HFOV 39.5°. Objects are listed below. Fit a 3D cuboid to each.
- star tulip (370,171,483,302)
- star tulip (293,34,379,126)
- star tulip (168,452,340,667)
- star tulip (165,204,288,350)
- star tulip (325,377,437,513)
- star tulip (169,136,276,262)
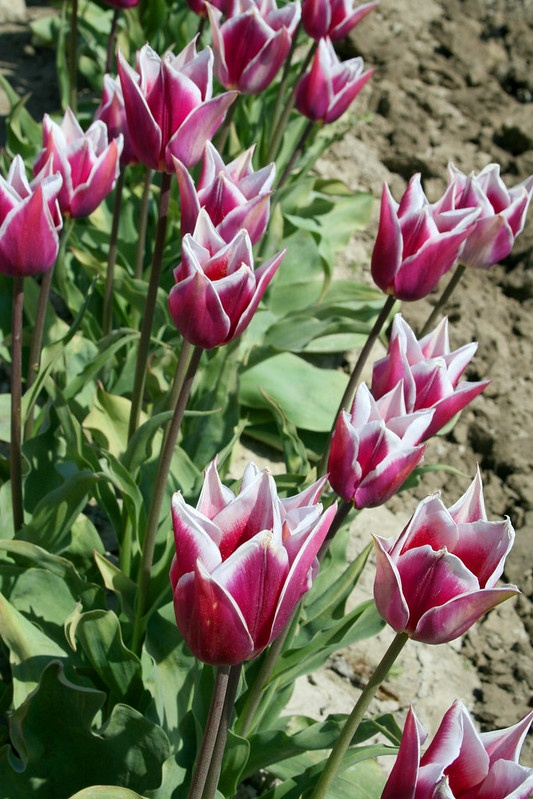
[{"bbox_3d":[0.249,-0.250,1.190,0.142,0.191,0.207,33,31,13],"label":"star tulip"},{"bbox_3d":[0.155,-0.735,1.777,0.147,0.180,0.195,21,31,-7],"label":"star tulip"},{"bbox_3d":[-0.031,0.159,0.694,0.137,0.182,0.134,19,4,26],"label":"star tulip"},{"bbox_3d":[-0.070,-0.124,0.901,0.125,0.134,0.124,25,31,17],"label":"star tulip"},{"bbox_3d":[0.134,0.066,0.940,0.115,0.163,0.133,26,28,23],"label":"star tulip"},{"bbox_3d":[-0.062,-0.244,1.037,0.161,0.163,0.155,3,42,-12],"label":"star tulip"}]
